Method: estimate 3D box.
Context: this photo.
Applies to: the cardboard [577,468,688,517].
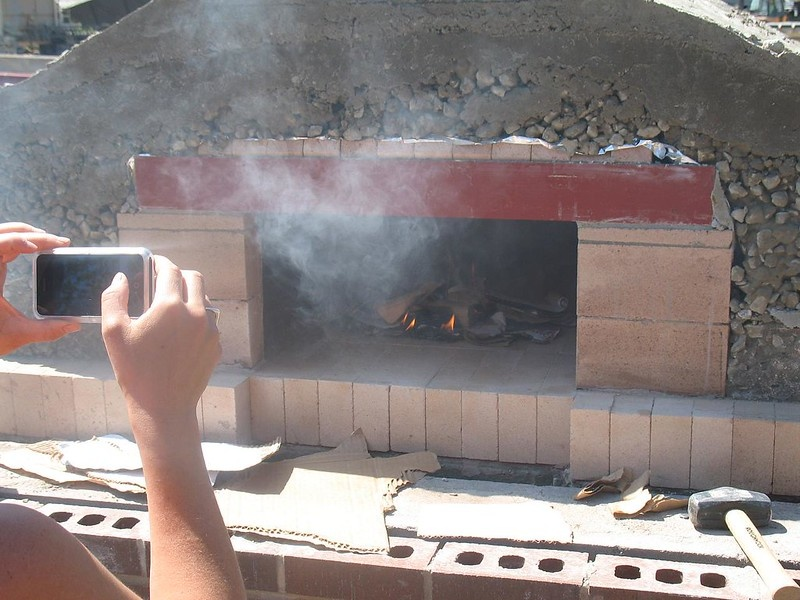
[{"bbox_3d":[1.757,1.494,8.646,0.451,0.162,0.453,-3,1,-8],"label":"cardboard"}]
